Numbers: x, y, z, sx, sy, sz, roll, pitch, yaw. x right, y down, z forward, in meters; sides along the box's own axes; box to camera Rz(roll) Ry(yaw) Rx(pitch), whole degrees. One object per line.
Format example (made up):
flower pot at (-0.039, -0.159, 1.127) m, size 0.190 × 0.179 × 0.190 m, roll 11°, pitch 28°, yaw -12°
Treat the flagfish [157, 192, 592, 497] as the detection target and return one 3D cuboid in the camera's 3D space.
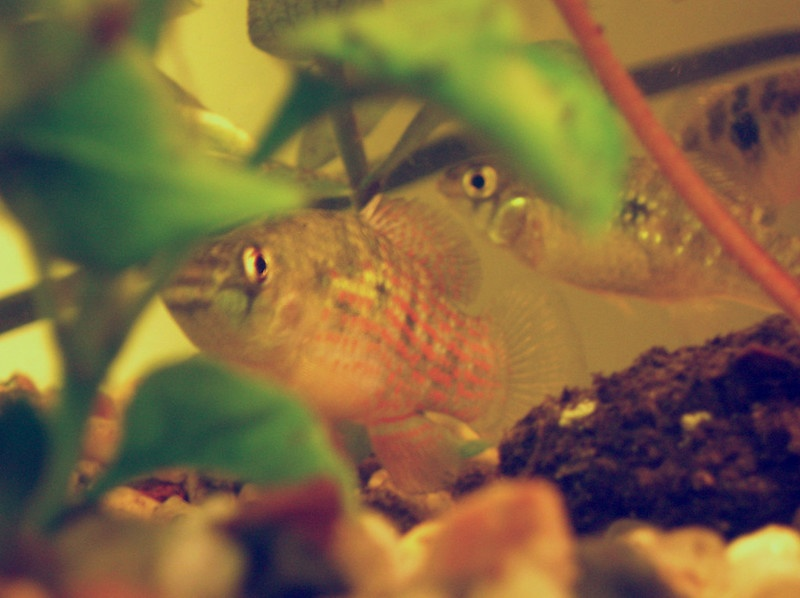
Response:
flagfish at (-0.007, 0.022, 0.505) m, size 0.193 × 0.137 × 0.028 m, roll -11°, pitch 0°, yaw -24°
